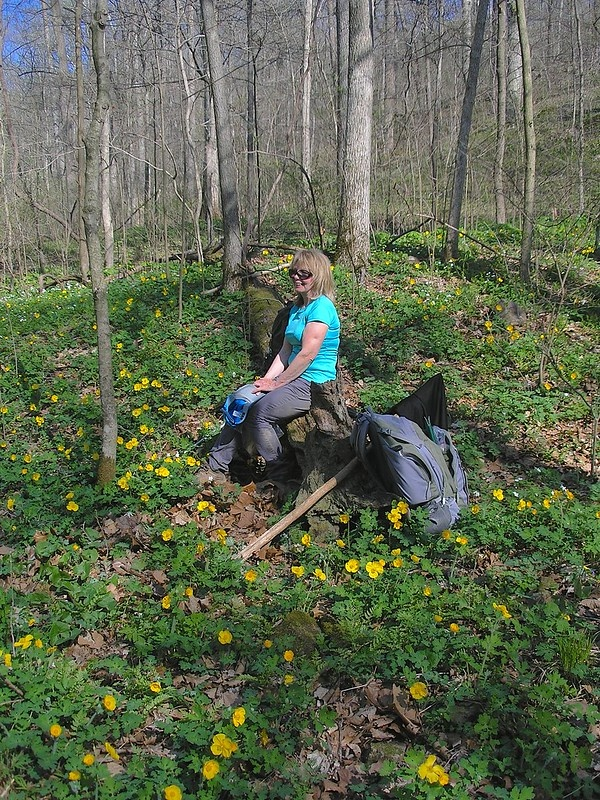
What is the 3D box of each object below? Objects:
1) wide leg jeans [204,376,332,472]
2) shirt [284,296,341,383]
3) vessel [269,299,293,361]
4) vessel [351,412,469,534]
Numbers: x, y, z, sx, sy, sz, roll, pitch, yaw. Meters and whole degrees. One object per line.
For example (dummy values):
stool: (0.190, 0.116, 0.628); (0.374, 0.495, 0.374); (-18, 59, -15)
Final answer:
wide leg jeans: (-0.222, 0.174, 4.673); (0.479, 0.817, 0.295); (41, 18, 35)
shirt: (0.088, -0.394, 4.451); (0.329, 0.543, 0.577); (-2, 8, -20)
vessel: (-0.167, -0.541, 5.233); (0.169, 0.405, 0.320); (11, 4, -3)
vessel: (0.681, 0.377, 3.930); (0.465, 0.777, 0.664); (-10, 14, 33)
